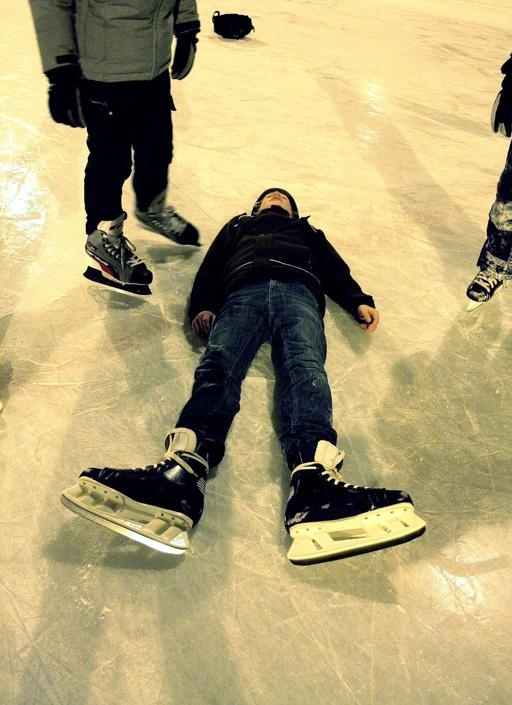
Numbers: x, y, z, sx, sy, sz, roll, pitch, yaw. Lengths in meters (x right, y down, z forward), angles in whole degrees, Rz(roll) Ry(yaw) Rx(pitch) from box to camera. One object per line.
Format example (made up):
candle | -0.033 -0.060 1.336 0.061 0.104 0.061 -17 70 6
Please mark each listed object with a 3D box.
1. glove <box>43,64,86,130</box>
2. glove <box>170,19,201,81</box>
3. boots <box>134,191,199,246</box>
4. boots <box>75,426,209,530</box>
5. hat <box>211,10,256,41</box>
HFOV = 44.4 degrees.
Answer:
glove | -0.805 -1.071 2.652 0.153 0.218 0.080 -4 16 -13
glove | -0.349 -1.465 3.161 0.125 0.336 0.143 11 41 -5
boots | -0.412 -0.693 3.458 0.453 0.189 0.137 25 62 -29
boots | -0.327 0.432 2.117 0.368 0.241 0.321 15 41 13
hat | -0.265 -3.828 7.398 0.467 0.314 0.462 0 39 -4
